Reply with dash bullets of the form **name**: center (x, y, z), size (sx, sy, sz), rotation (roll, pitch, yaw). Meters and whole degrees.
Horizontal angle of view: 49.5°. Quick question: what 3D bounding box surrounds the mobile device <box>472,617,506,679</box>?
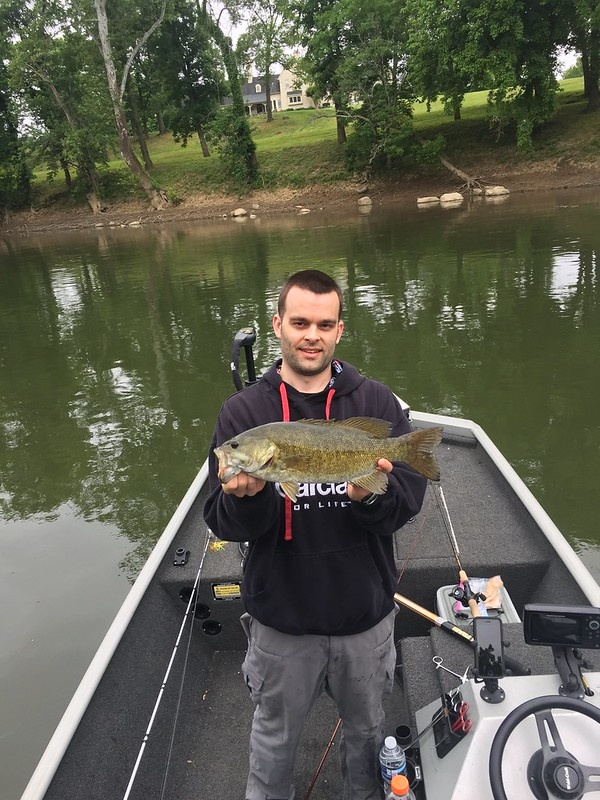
- **mobile device**: center (0.764, 0.986, 2.606), size (0.131, 0.229, 0.024), rotation (-15, -26, 43)
